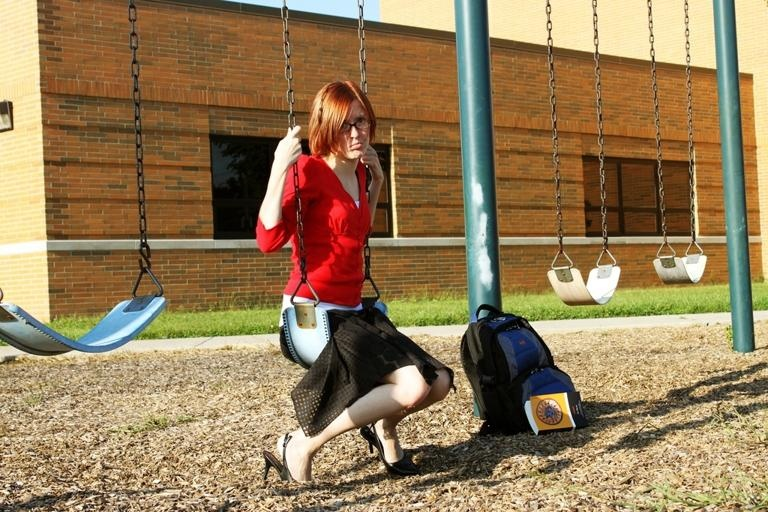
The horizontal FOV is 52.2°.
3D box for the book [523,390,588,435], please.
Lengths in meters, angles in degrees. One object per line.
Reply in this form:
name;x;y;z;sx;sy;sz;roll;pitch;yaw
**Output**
book;1.427;1.309;6.569;0.526;0.322;0.121;-3;2;-20
